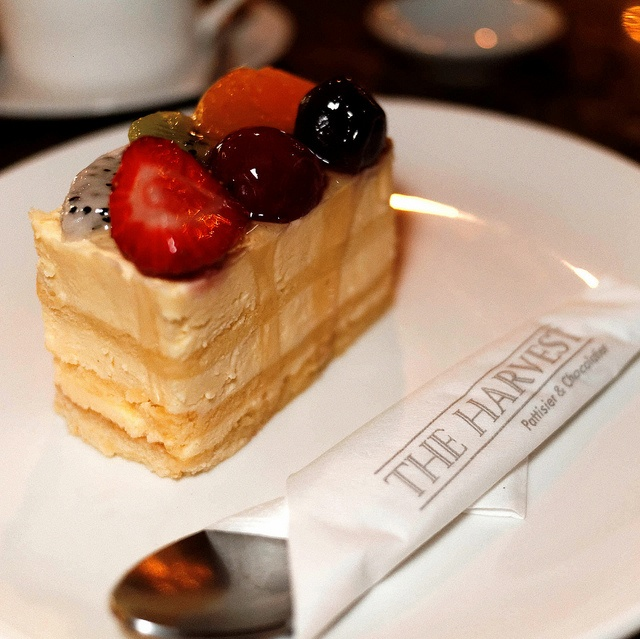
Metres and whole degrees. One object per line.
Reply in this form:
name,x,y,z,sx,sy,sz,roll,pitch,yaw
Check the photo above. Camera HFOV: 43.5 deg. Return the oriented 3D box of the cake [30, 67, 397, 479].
cake,-0.179,-0.113,1.373,0.391,0.459,0.673,18,40,20
